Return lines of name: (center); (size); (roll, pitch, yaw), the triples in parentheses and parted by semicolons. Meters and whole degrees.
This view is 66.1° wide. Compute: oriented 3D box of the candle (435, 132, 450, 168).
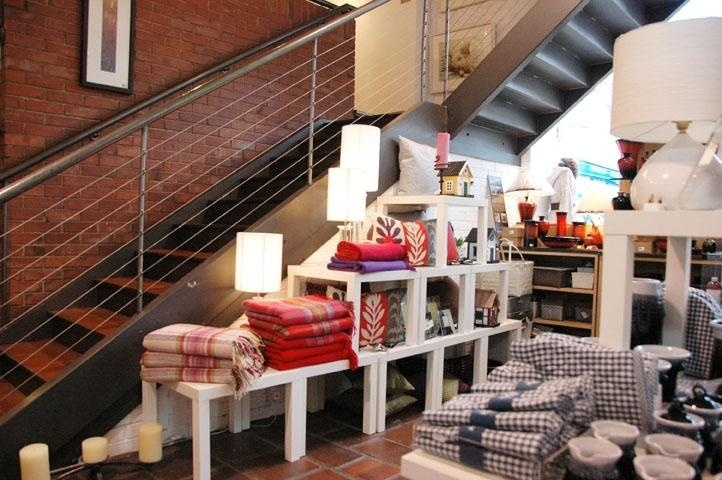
candle: (0.609, -0.656, 4.116); (0.093, 0.273, 0.243); (3, 8, 6)

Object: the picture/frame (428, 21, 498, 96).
picture/frame: (1.001, -1.813, 5.648); (0.229, 0.649, 0.766); (-5, 10, -35)

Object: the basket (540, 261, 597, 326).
basket: (1.900, 0.463, 5.083); (0.619, 0.598, 0.380); (6, 9, 31)

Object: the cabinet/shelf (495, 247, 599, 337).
cabinet/shelf: (1.663, 0.483, 4.889); (0.967, 0.781, 0.340); (0, -1, 42)

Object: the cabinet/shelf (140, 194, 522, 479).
cabinet/shelf: (-0.009, 0.468, 3.786); (0.926, 1.536, 2.600); (9, 11, 44)

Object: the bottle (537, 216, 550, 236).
bottle: (1.807, -0.126, 5.438); (0.124, 0.184, 0.306); (4, 8, 18)

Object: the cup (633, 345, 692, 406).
cup: (1.036, 0.420, 1.847); (0.204, 0.141, 0.202); (-1, 7, 0)

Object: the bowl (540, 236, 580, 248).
bowl: (1.863, 0.028, 5.186); (0.344, 0.114, 0.192); (4, 8, 19)

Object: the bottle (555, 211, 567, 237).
bottle: (1.929, -0.144, 5.281); (0.104, 0.222, 0.267); (5, 8, 20)

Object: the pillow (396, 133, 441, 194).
pillow: (0.450, -0.582, 4.379); (0.543, 0.456, 0.187); (9, -16, -44)
